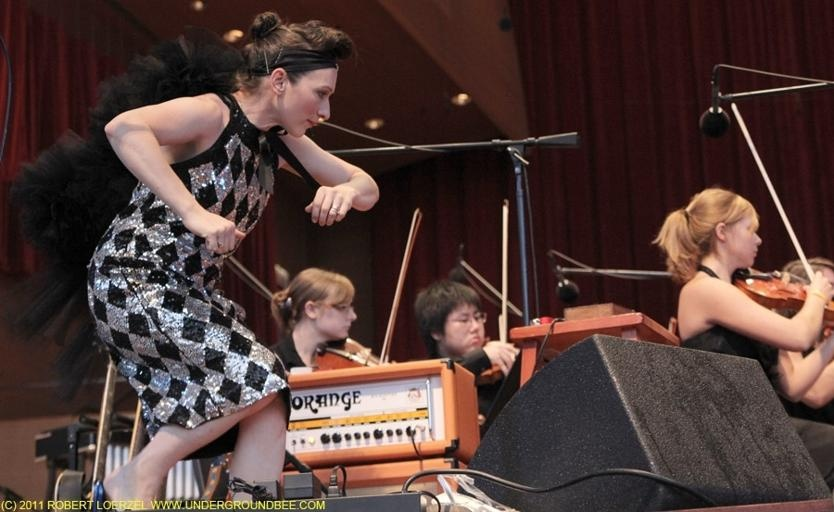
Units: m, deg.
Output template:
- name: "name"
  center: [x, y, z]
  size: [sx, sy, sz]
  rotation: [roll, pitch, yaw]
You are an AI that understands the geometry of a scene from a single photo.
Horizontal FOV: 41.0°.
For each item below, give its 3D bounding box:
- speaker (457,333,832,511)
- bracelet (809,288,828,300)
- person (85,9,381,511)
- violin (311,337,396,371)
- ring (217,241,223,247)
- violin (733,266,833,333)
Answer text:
- name: "speaker"
  center: [0.796, 0.588, 3.752]
  size: [0.780, 0.429, 0.786]
  rotation: [-23, -30, 37]
- name: "bracelet"
  center: [1.794, 0.168, 4.953]
  size: [0.054, 0.014, 0.052]
  rotation: [24, -10, -33]
- name: "person"
  center: [-0.719, -0.036, 4.131]
  size: [1.063, 1.744, 0.656]
  rotation: [-8, 5, -9]
- name: "violin"
  center: [-0.355, 0.499, 5.377]
  size: [0.275, 0.075, 0.149]
  rotation: [13, 35, 12]
- name: "ring"
  center: [-0.710, -0.048, 4.020]
  size: [0.021, 0.019, 0.010]
  rotation: [-9, 5, -20]
- name: "violin"
  center: [1.627, 0.153, 5.089]
  size: [0.582, 0.104, 0.236]
  rotation: [19, 11, -14]
